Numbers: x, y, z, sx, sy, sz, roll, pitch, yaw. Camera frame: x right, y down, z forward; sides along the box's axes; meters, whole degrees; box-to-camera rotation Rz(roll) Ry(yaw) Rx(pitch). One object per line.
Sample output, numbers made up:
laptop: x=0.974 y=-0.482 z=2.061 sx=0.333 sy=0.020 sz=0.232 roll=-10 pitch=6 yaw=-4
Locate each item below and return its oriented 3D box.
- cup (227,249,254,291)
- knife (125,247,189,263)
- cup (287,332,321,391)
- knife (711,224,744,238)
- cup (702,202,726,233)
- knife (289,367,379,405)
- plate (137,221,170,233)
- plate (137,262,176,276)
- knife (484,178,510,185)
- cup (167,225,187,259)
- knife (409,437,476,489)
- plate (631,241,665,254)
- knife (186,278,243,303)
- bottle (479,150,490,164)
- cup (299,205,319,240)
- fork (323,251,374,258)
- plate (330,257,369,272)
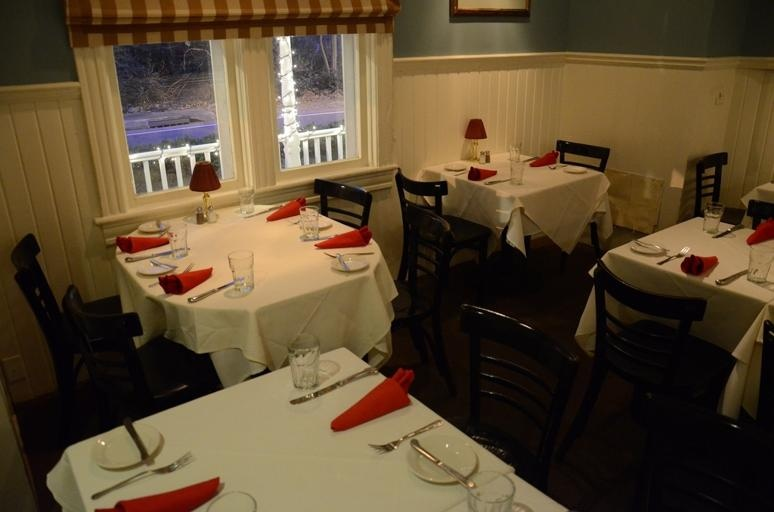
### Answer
cup: x=-0.783 y=0.084 z=2.910 sx=0.121 sy=0.194 sz=0.126 roll=1 pitch=32 yaw=0
knife: x=-1.364 y=-0.004 z=3.217 sx=0.251 sy=0.031 sz=0.037 roll=-12 pitch=28 yaw=-32
cup: x=-0.348 y=0.453 z=2.309 sx=0.130 sy=0.199 sz=0.131 roll=-1 pitch=14 yaw=0
knife: x=2.207 y=-0.162 z=3.522 sx=0.459 sy=0.039 sz=0.089 roll=-18 pitch=29 yaw=-41
cup: x=2.141 y=-0.252 z=3.569 sx=0.111 sy=0.193 sz=0.116 roll=-3 pitch=14 yaw=1
knife: x=-0.227 y=0.549 z=2.263 sx=0.310 sy=0.026 sz=0.046 roll=-21 pitch=41 yaw=-36
plate: x=-1.515 y=-0.192 z=3.548 sx=0.213 sy=0.055 sz=0.137 roll=-2 pitch=21 yaw=3
plate: x=-1.299 y=0.073 z=3.068 sx=0.107 sy=0.020 sz=0.110 roll=4 pitch=26 yaw=-5
knife: x=0.902 y=-0.615 z=4.468 sx=0.218 sy=0.019 sz=0.032 roll=-13 pitch=66 yaw=-24
cup: x=-1.237 y=-0.077 z=3.208 sx=0.113 sy=0.173 sz=0.105 roll=8 pitch=32 yaw=-5
knife: x=0.186 y=0.755 z=1.988 sx=0.082 sy=0.020 sz=0.389 roll=-24 pitch=31 yaw=-26
plate: x=1.589 y=-0.047 z=3.326 sx=0.087 sy=0.024 sz=0.143 roll=-8 pitch=18 yaw=-14
knife: x=-0.911 y=0.186 z=2.869 sx=0.036 sy=0.029 sz=0.264 roll=30 pitch=33 yaw=25
bottle: x=0.890 y=-0.905 z=4.971 sx=0.095 sy=0.147 sz=0.077 roll=11 pitch=26 yaw=27
cup: x=-0.498 y=-0.200 z=3.443 sx=0.128 sy=0.221 sz=0.130 roll=1 pitch=5 yaw=0
fork: x=-0.227 y=-0.014 z=3.196 sx=0.293 sy=0.026 sz=0.089 roll=-3 pitch=22 yaw=0
plate: x=-0.211 y=0.047 z=3.086 sx=0.213 sy=0.039 sz=0.160 roll=-6 pitch=22 yaw=-5
